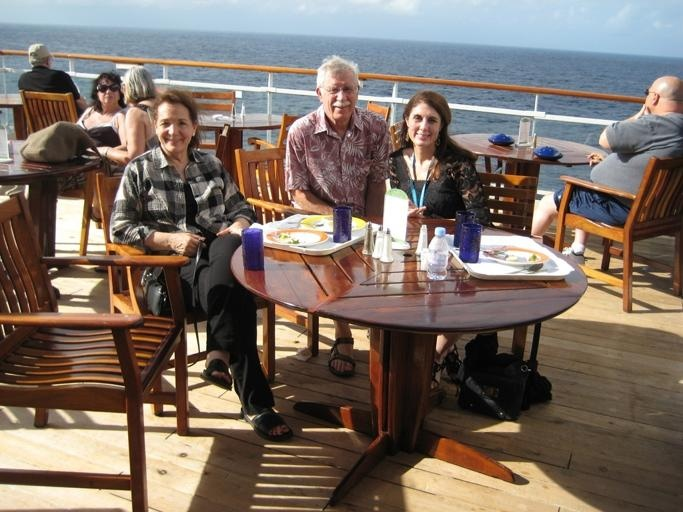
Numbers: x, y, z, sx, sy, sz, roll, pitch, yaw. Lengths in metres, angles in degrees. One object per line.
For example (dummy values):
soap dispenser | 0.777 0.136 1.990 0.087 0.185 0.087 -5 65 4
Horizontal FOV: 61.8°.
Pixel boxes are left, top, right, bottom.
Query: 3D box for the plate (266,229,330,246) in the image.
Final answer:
plate | -0.201 -0.086 2.505 0.143 0.011 0.129 11 20 25

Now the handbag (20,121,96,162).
handbag | -1.721 -0.677 3.430 0.341 0.110 0.358 -19 20 -36

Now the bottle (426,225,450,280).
bottle | 0.382 -0.030 2.263 0.093 0.202 0.210 4 20 10

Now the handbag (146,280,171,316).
handbag | -0.820 0.192 2.542 0.098 0.132 0.168 -6 18 -31

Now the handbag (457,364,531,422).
handbag | 0.725 0.656 2.790 0.380 0.192 0.256 1 5 14

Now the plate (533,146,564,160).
plate | 1.533 -0.766 4.238 0.193 0.067 0.179 -22 32 -28

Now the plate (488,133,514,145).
plate | 1.271 -0.937 4.582 0.164 0.053 0.140 0 13 -2

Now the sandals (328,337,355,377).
sandals | -0.005 0.548 3.012 0.113 0.087 0.266 -1 3 0

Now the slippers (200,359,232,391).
slippers | -0.570 0.530 2.581 0.127 0.130 0.113 -2 20 -7
